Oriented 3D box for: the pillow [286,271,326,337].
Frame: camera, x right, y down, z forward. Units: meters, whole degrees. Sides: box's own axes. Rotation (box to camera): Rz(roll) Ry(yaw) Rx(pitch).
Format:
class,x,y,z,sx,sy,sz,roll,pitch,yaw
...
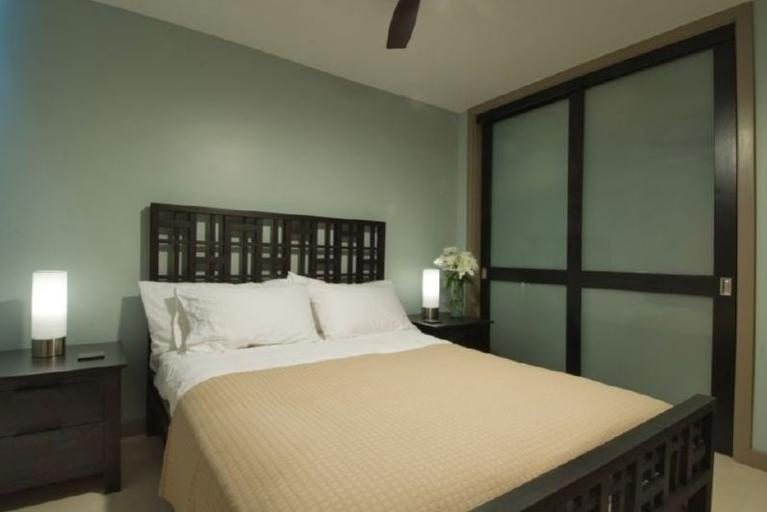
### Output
class,x,y,z,sx,sy,sz,roll,pitch,yaw
pillow,-0.639,0.377,4.346,0.123,0.443,0.438,-18,-15,11
